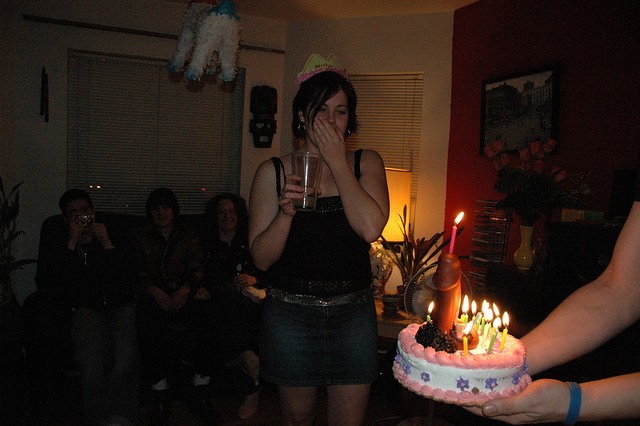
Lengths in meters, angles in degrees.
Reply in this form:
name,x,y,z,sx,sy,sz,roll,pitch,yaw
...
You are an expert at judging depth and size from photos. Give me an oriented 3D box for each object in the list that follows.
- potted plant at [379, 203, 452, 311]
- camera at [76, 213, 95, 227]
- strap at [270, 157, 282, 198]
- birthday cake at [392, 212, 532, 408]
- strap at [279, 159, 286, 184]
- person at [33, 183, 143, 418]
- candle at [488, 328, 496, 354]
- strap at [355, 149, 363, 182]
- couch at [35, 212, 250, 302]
name,x,y,z,sx,sy,sz,roll,pitch,yaw
potted plant,0.821,0.449,4.533,0.563,0.870,0.769,8,9,28
camera,-1.864,0.061,3.876,0.112,0.101,0.050,2,1,-5
strap,-0.242,-0.195,2.650,0.038,0.191,0.104,-1,-12,-10
birthday cake,0.741,0.510,2.557,0.678,0.766,0.730,2,4,38
strap,-0.203,-0.245,2.663,0.017,0.087,0.048,-6,-2,6
person,-1.723,0.626,3.733,0.663,1.530,1.222,-3,8,-45
candle,0.844,0.634,2.379,0.028,0.103,0.077,4,6,20
strap,0.205,-0.264,2.667,0.032,0.138,0.080,4,-9,-4
couch,-1.727,0.502,4.703,1.797,0.795,0.842,1,-16,-3
